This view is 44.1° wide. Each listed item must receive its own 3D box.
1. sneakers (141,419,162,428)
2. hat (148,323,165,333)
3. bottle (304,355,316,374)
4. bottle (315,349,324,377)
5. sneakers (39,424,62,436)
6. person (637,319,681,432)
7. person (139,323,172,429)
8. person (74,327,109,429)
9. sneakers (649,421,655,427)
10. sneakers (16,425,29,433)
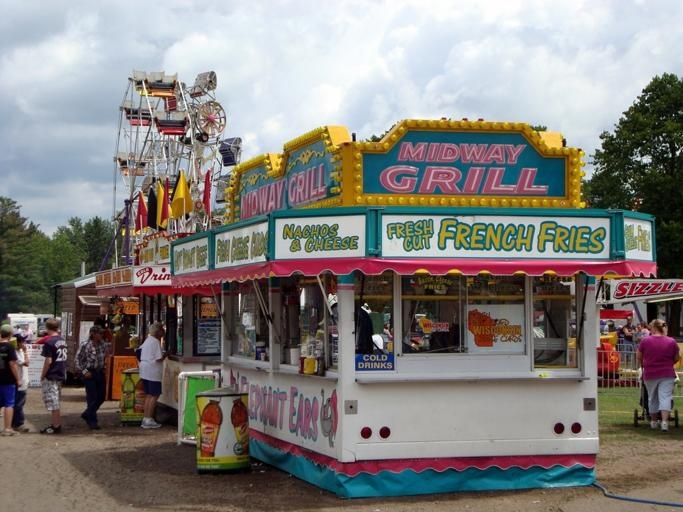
[{"bbox_3d":[-3.834,3.368,16.934,0.424,0.186,0.151,1,1,-20],"label":"sneakers"},{"bbox_3d":[-3.757,1.469,17.027,0.227,0.226,0.216,-3,4,-13],"label":"hat"},{"bbox_3d":[-0.475,1.581,12.096,0.226,0.249,0.087,-7,-12,40],"label":"bottle"},{"bbox_3d":[-0.316,1.535,12.016,0.125,0.359,0.295,1,-9,-2],"label":"bottle"},{"bbox_3d":[-5.598,3.332,16.166,0.460,0.220,0.181,1,-4,19],"label":"sneakers"},{"bbox_3d":[5.788,2.182,15.459,0.708,2.066,1.247,-2,-10,19],"label":"person"},{"bbox_3d":[-3.858,2.422,17.080,0.492,2.114,0.755,3,-9,-13],"label":"person"},{"bbox_3d":[-5.086,2.445,17.090,0.592,2.060,1.106,3,-9,-16],"label":"person"},{"bbox_3d":[5.782,3.163,15.789,0.104,0.113,0.104,6,-6,-43],"label":"sneakers"},{"bbox_3d":[-6.156,3.341,16.190,0.253,0.113,0.088,-3,0,-1],"label":"sneakers"}]
